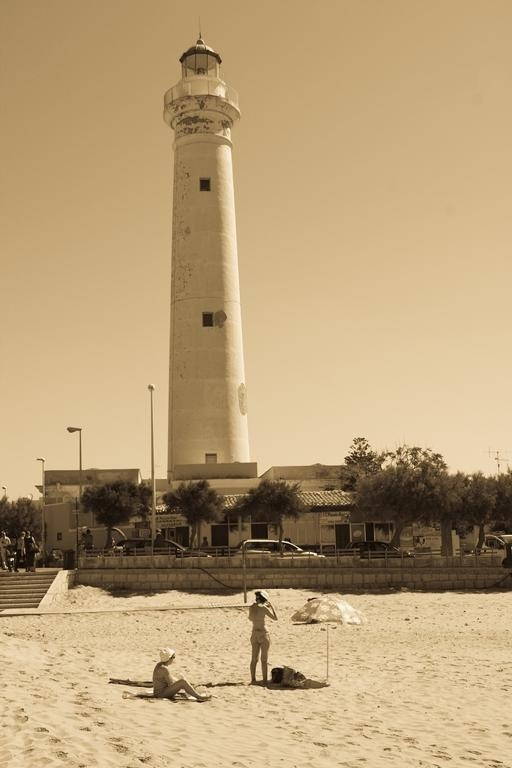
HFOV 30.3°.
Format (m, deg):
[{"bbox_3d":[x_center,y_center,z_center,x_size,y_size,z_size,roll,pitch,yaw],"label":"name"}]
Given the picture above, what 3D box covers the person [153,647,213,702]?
[{"bbox_3d":[-1.190,4.495,14.701,0.797,0.819,1.009,2,-7,-6],"label":"person"}]
